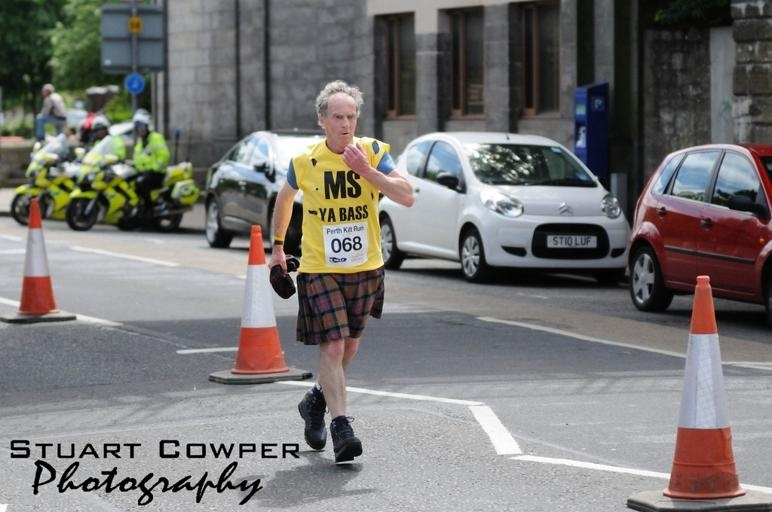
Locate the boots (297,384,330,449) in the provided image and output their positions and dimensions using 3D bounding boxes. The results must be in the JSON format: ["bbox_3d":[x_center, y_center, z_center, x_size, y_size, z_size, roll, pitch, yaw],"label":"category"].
[{"bbox_3d":[-0.524,1.124,9.245,0.172,0.476,0.298,-7,-5,-24],"label":"boots"}]

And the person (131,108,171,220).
[{"bbox_3d":[-4.358,-1.646,23.807,0.640,2.022,0.874,-3,8,-13],"label":"person"}]

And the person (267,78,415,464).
[{"bbox_3d":[-0.306,0.085,9.186,0.840,2.619,0.997,-5,9,-26],"label":"person"}]

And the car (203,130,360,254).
[{"bbox_3d":[-1.700,-1.122,20.981,1.489,1.420,3.008,-1,2,-34],"label":"car"}]

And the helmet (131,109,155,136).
[{"bbox_3d":[-4.445,-2.441,23.551,0.407,0.467,0.518,-2,-29,-2],"label":"helmet"}]

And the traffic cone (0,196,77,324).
[{"bbox_3d":[-3.740,0.074,13.673,0.720,1.262,0.455,1,8,21],"label":"traffic cone"}]

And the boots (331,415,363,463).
[{"bbox_3d":[-0.296,1.265,8.881,0.124,0.309,0.222,-8,10,-40],"label":"boots"}]
